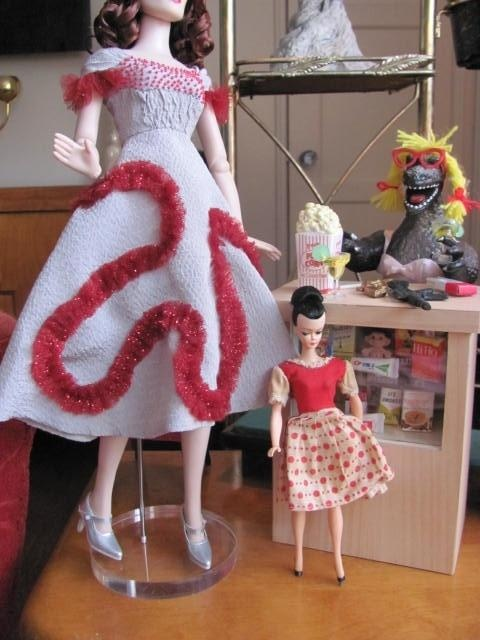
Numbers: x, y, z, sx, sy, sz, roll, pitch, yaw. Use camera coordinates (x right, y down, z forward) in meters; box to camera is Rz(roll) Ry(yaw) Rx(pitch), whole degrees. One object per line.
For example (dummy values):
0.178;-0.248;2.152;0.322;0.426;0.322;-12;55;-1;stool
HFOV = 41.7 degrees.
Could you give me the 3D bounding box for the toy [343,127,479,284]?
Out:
0.441;-0.275;1.482;0.288;0.353;0.325;-8;13;-31;toy
